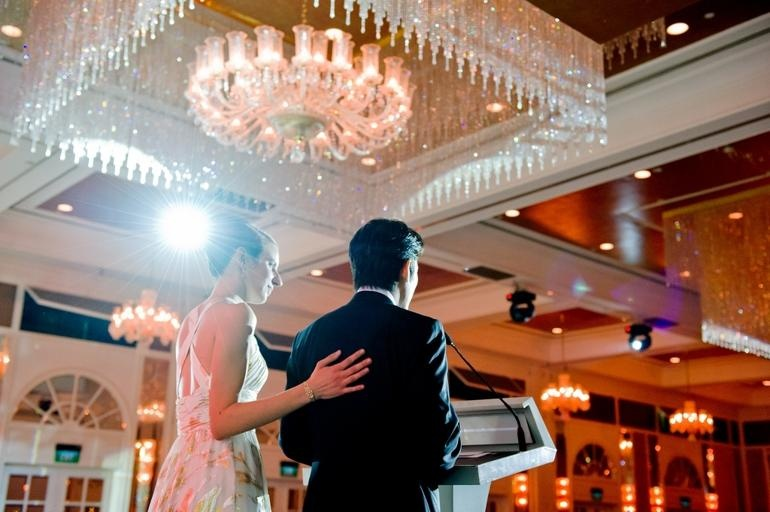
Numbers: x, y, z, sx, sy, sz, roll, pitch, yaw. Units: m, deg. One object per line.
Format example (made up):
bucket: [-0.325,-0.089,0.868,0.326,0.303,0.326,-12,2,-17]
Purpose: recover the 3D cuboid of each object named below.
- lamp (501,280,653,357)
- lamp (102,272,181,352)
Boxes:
lamp: [3.558,0.981,11.378,2.208,1.581,4.217,-5,3,16]
lamp: [-3.827,0.927,10.077,0.872,0.697,0.888,-13,-25,32]
